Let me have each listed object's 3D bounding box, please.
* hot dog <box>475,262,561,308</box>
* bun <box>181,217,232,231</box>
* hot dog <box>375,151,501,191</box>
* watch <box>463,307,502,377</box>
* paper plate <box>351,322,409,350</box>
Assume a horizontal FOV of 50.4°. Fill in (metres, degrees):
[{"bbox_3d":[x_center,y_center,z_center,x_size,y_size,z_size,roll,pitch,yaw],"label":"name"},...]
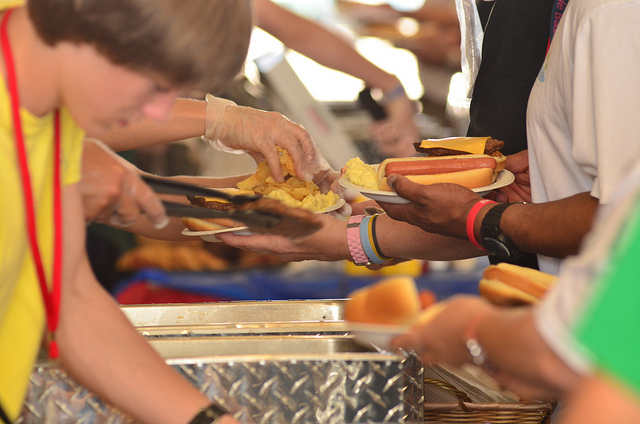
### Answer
[{"bbox_3d":[0.358,0.138,1.233,0.135,0.041,0.073,6,14,15],"label":"hot dog"},{"bbox_3d":[-0.353,0.039,1.984,0.070,0.028,0.068,5,2,10],"label":"bun"},{"bbox_3d":[0.380,-0.130,2.120,0.308,0.080,0.156,1,14,5],"label":"hot dog"},{"bbox_3d":[0.297,0.240,1.245,0.060,0.108,0.083,-4,23,14],"label":"watch"},{"bbox_3d":[0.103,0.212,1.213,0.117,0.043,0.111,0,-6,-18],"label":"paper plate"}]
